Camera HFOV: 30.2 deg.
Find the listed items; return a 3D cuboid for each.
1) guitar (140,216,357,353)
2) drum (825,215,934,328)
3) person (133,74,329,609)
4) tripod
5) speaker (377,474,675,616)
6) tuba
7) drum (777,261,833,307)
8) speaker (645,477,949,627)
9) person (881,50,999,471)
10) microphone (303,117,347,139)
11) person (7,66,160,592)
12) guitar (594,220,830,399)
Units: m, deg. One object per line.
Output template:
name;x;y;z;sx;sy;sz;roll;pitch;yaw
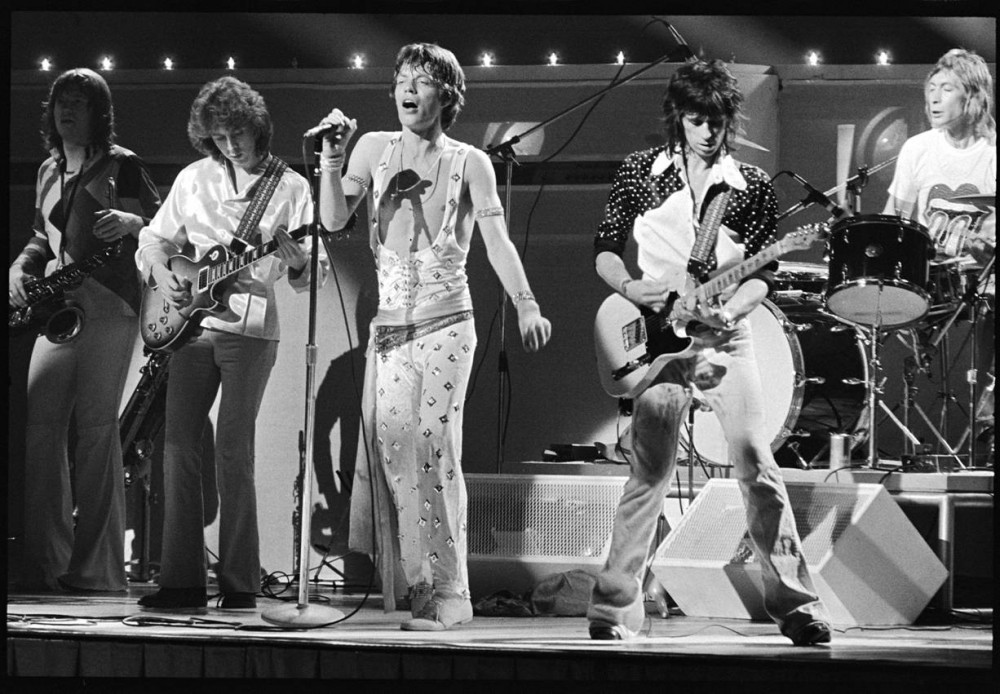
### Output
guitar;-1.408;-0.354;9.835;1.081;0.663;0.781;1;6;-14
drum;1.963;-0.411;9.529;0.517;0.563;0.415;6;8;39
person;-1.378;-0.035;9.427;1.335;2.648;0.971;-3;-6;30
tripod;2.324;0.020;10.023;1.230;1.083;1.021;2;-2;-8
speaker;0.153;0.921;9.680;2.266;0.540;0.792;3;3;12
tuba;-2.187;-0.459;9.635;0.610;0.783;0.488;2;10;6
drum;1.652;-0.365;10.093;0.434;0.248;0.231;2;1;8
speaker;1.489;1.019;9.085;0.958;0.566;1.031;3;-7;-39
person;2.279;-0.987;9.581;0.529;1.087;0.318;1;-4;12
microphone;-0.826;-1.043;8.870;0.217;0.082;0.095;-1;-5;32
person;-2.106;-0.027;9.547;0.766;2.839;0.636;9;12;30
guitar;1.072;-0.230;9.283;1.105;0.833;0.913;4;5;9
